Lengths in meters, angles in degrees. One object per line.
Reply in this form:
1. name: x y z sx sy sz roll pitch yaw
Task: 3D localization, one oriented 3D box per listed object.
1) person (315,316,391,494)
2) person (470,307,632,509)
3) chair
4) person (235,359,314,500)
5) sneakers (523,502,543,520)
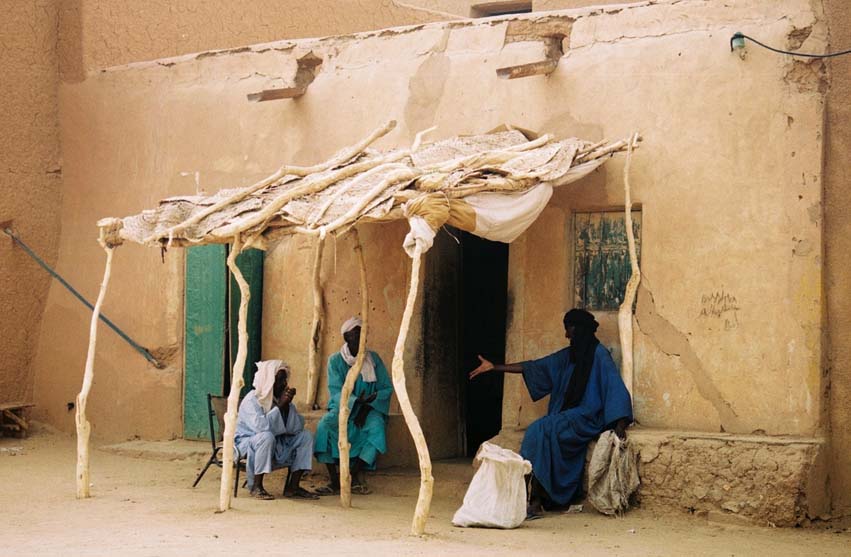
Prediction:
1. person: -0.877 1.592 17.200 1.060 2.126 0.661 -3 10 -20
2. person: 1.787 1.592 16.698 1.323 2.330 1.037 -1 9 -9
3. chair: -2.294 2.102 17.485 0.959 1.174 0.740 8 1 35
4. person: -1.823 1.846 16.771 0.984 1.652 0.558 0 9 -7
5. sneakers: 1.291 2.747 16.278 0.182 0.150 0.238 2 8 8
